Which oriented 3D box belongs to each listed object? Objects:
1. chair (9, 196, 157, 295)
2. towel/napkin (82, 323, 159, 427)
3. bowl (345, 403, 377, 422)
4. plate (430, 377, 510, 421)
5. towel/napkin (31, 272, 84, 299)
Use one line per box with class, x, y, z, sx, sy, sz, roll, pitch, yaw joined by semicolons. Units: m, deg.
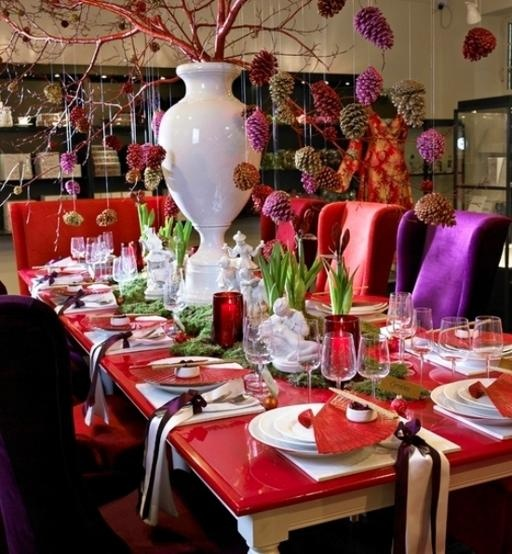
chair;-1.059;-0.201;2.796;0.870;0.530;0.422;-2;0;-30
towel/napkin;-0.422;0.277;1.447;0.280;0.264;0.306;-6;13;-30
bowl;0.162;0.216;0.725;0.031;0.012;0.029;0;2;0
plate;0.388;0.232;0.865;0.091;0.011;0.084;-4;5;-7
towel/napkin;-0.976;0.033;2.260;0.309;0.080;0.282;-3;7;-31
